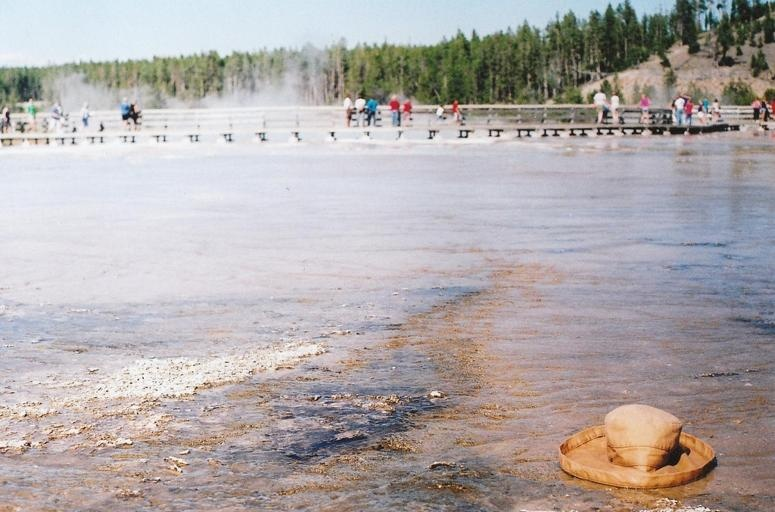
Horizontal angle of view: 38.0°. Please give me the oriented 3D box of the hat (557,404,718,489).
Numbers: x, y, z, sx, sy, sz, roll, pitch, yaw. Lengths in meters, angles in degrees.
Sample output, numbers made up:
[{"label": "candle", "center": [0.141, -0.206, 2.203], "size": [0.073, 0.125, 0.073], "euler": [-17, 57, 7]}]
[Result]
[{"label": "hat", "center": [2.262, 1.674, 10.358], "size": [1.409, 0.275, 1.130], "euler": [3, 11, 19]}]
